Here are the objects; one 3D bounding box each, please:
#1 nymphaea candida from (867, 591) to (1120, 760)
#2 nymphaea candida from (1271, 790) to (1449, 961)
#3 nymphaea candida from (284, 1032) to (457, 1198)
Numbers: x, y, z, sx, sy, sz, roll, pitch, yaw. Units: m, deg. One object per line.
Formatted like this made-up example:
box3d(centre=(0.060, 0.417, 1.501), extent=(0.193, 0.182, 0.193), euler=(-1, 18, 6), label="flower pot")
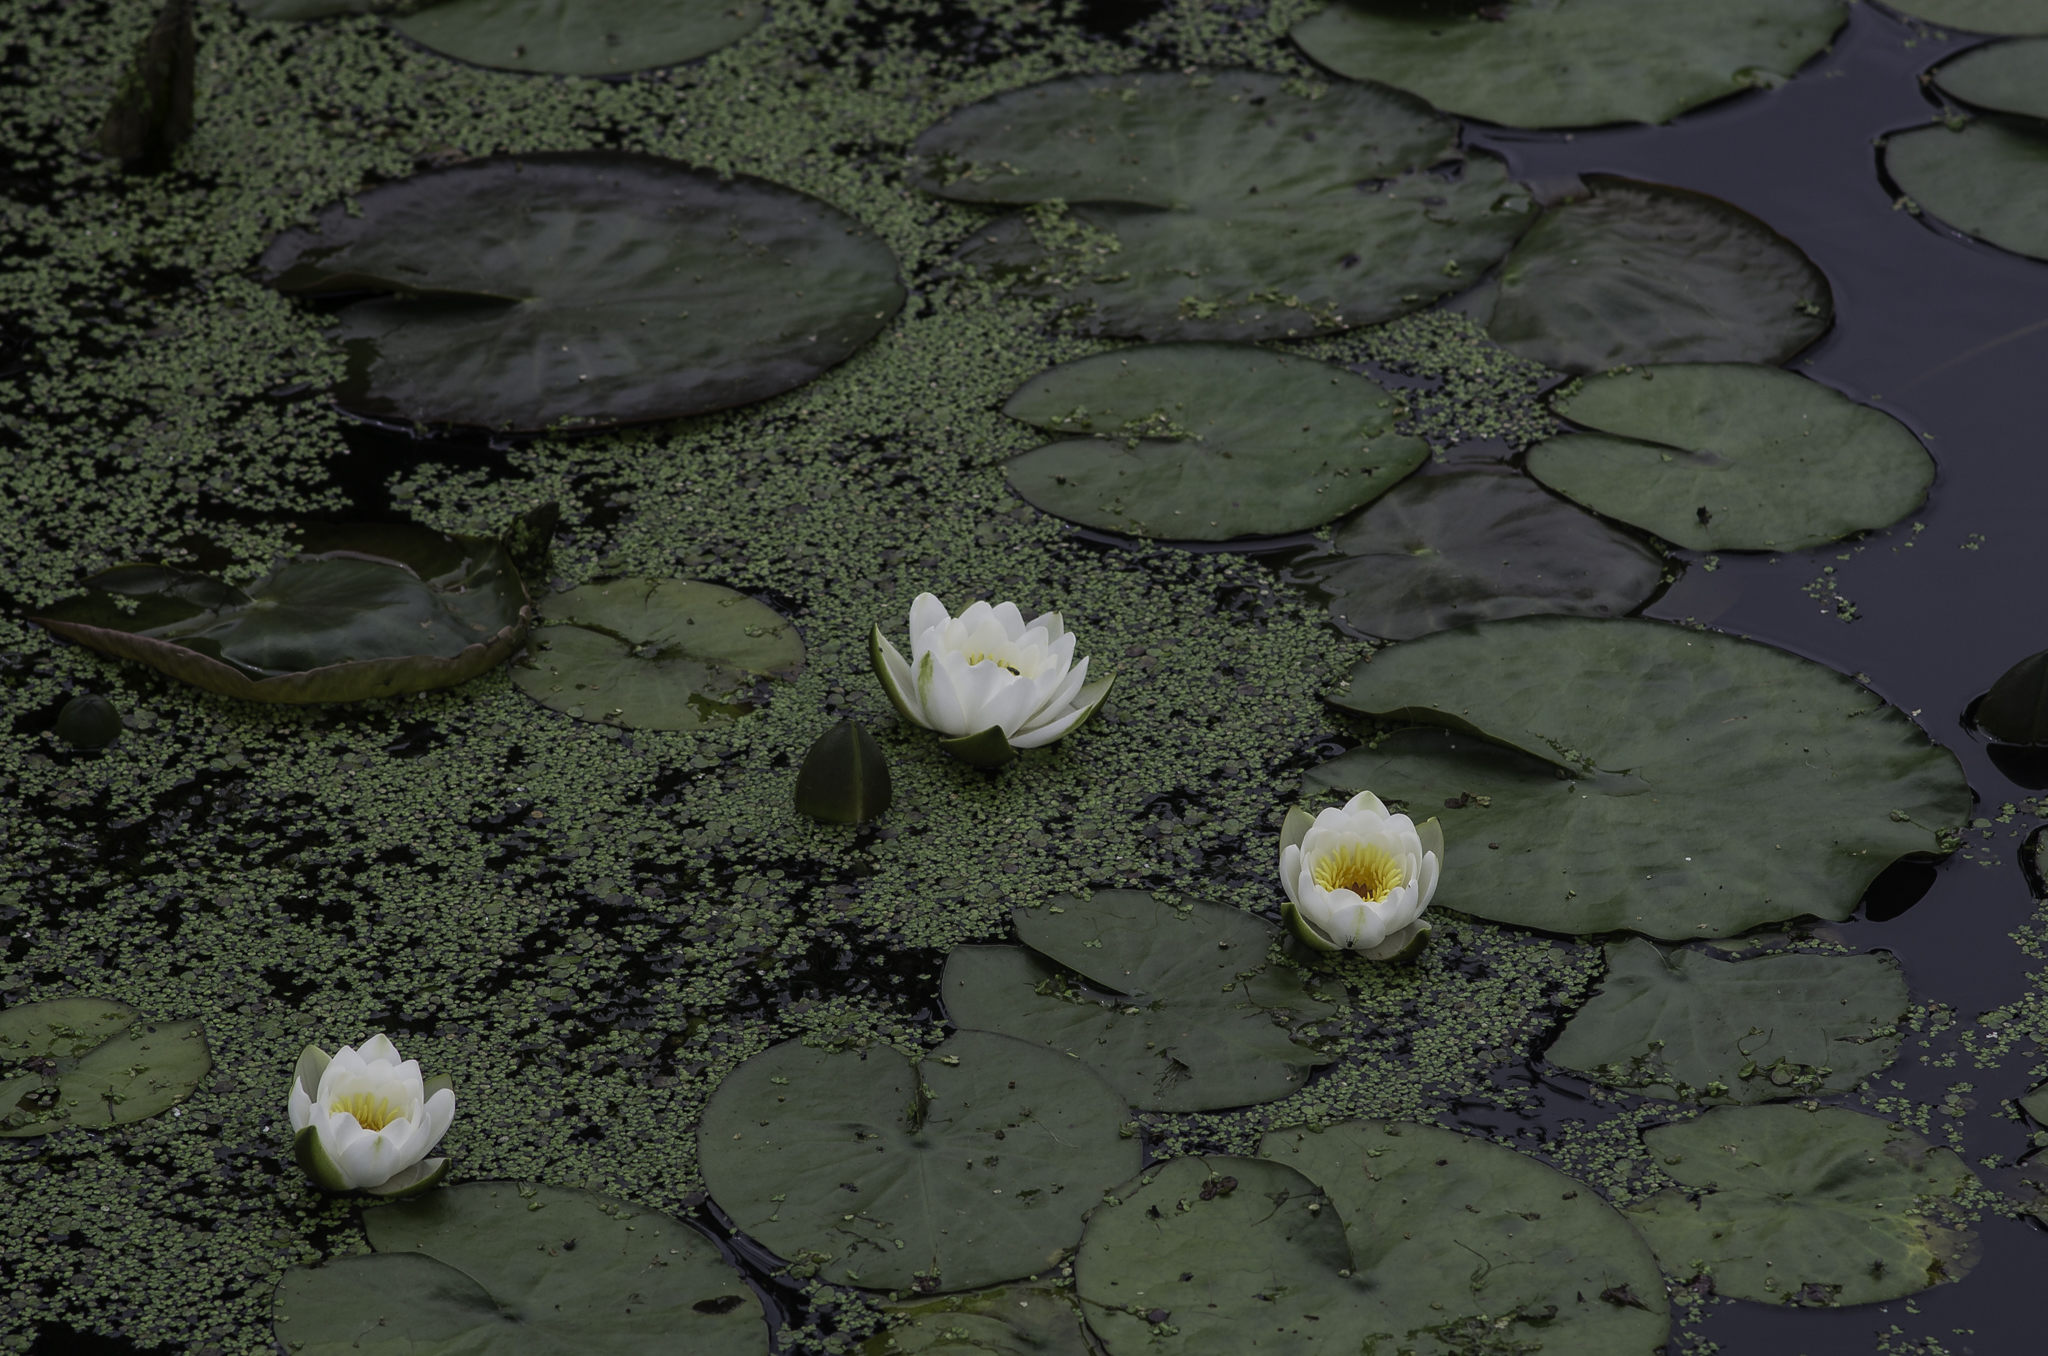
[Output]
box3d(centre=(-0.081, 0.002, 5.402), extent=(0.454, 0.183, 0.460), euler=(-4, 26, -21), label="nymphaea candida")
box3d(centre=(0.757, 0.446, 5.109), extent=(0.368, 0.367, 0.218), euler=(1, -15, 2), label="nymphaea candida")
box3d(centre=(-1.370, 0.893, 4.615), extent=(0.403, 0.172, 0.392), euler=(15, 18, -12), label="nymphaea candida")
